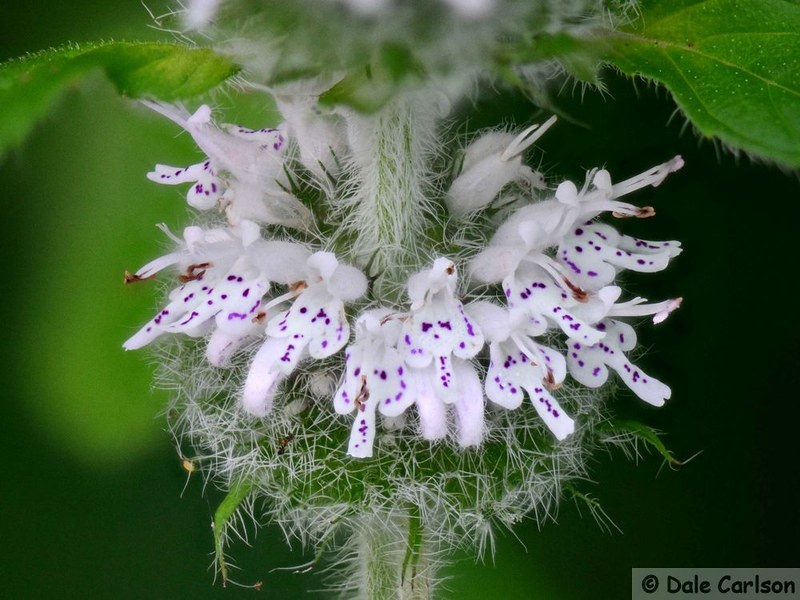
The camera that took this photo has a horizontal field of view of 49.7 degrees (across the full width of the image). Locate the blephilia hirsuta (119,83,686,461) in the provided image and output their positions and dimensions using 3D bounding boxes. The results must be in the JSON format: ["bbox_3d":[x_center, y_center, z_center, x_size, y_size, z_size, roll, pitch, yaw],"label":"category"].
[{"bbox_3d":[0.008,-0.040,1.559,0.990,0.736,0.417,-10,6,7],"label":"blephilia hirsuta"}]
